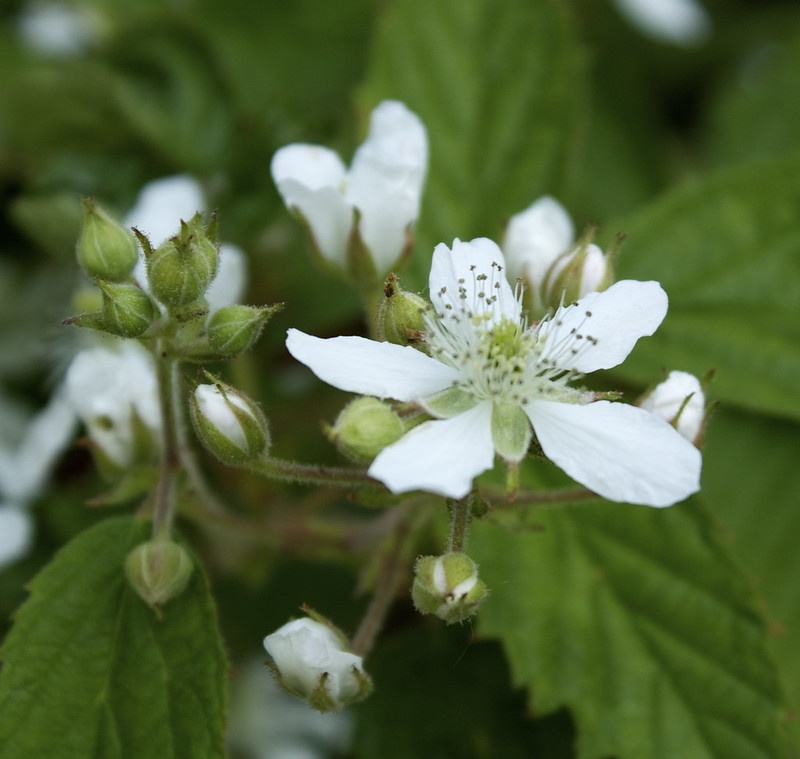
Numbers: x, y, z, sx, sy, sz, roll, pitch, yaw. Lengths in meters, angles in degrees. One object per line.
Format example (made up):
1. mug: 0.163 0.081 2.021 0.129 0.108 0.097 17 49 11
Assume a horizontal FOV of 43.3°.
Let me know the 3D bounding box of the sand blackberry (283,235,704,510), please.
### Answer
1. sand blackberry: 0.099 -0.032 1.264 0.481 0.195 0.404 5 25 -10

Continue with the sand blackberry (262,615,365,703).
1. sand blackberry: -0.126 0.367 1.250 0.087 0.053 0.105 15 -12 -24

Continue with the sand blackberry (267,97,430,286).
1. sand blackberry: -0.067 -0.229 1.646 0.248 0.350 0.278 -1 6 21
